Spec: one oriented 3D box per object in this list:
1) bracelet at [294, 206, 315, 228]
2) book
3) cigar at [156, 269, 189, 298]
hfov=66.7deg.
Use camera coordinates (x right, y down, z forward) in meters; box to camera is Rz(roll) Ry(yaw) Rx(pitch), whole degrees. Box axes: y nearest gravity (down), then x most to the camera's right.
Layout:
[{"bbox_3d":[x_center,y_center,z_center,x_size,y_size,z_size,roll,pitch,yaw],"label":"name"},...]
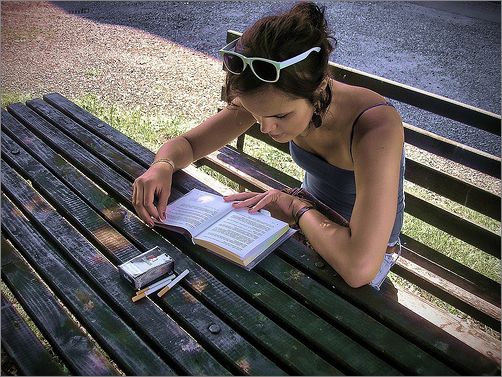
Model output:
[{"bbox_3d":[0.236,0.123,1.690,0.024,0.086,0.090,17,12,24],"label":"bracelet"},{"bbox_3d":[-0.114,0.157,1.636,0.480,0.064,0.295,20,34,30],"label":"book"},{"bbox_3d":[-0.292,0.355,1.426,0.037,0.017,0.161,26,38,22],"label":"cigar"}]
